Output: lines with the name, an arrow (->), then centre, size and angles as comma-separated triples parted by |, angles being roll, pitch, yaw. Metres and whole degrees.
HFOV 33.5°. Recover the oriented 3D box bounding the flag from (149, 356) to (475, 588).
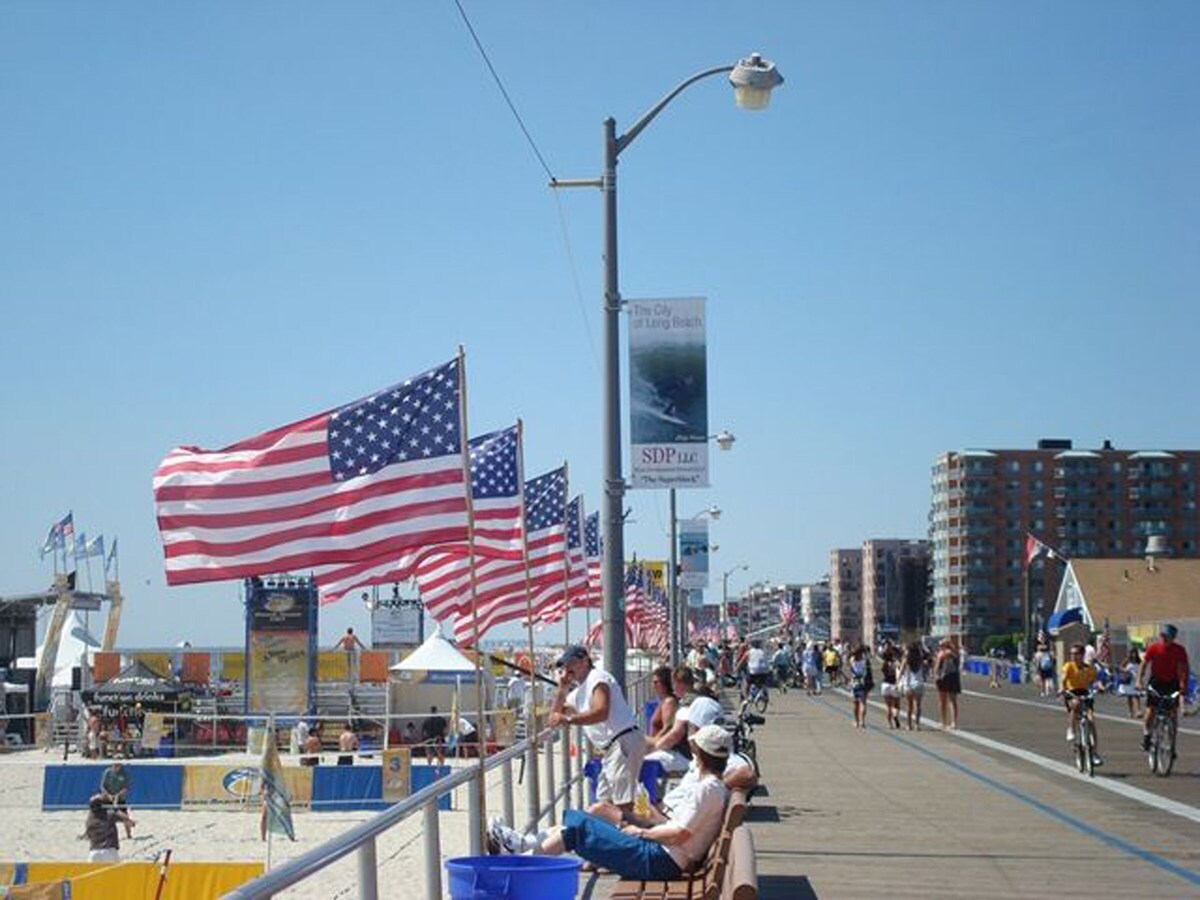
flag -> -4.661, 0.487, 33.176 | 4.920, 3.240, 0.693 | -4, -10, 8
